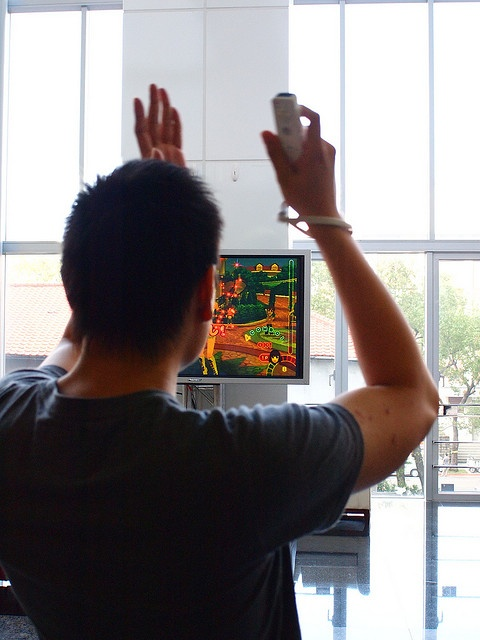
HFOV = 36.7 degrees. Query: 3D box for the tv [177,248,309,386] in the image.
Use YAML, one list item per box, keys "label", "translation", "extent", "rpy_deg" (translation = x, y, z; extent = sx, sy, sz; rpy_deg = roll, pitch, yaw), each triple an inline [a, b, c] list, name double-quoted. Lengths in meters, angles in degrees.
- label: "tv"
  translation: [0.013, -0.021, 3.486]
  extent: [0.737, 0.646, 0.050]
  rpy_deg: [0, -7, 33]
